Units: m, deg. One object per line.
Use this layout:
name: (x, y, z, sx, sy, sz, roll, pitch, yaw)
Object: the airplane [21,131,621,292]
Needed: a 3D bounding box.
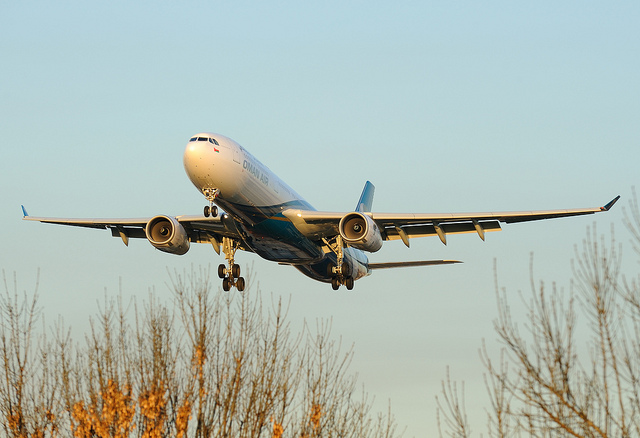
airplane: (-0.561, 0.185, 42.773, 13.443, 3.660, 8.652, 2, -14, -11)
